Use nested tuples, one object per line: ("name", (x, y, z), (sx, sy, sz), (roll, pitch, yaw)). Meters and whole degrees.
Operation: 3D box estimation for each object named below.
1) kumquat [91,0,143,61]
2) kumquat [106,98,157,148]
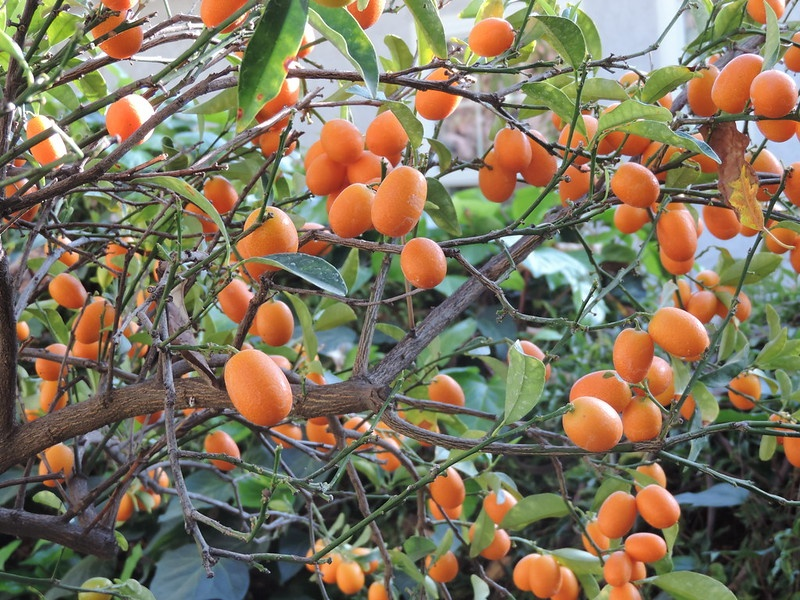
("kumquat", (-0.368, -0.348, 1.063), (0.052, 0.053, 0.103), (21, -68, 54))
("kumquat", (-0.368, -0.248, 1.097), (0.043, 0.043, 0.053), (-1, -79, 2))
